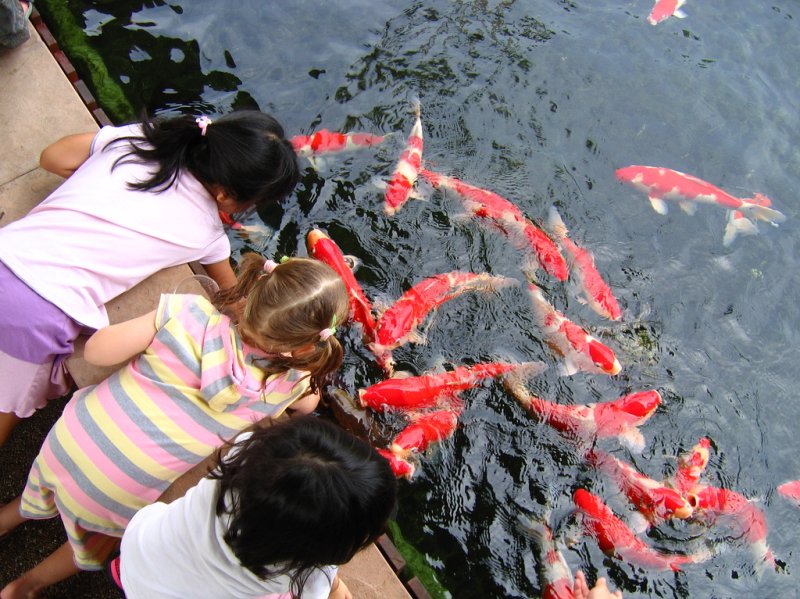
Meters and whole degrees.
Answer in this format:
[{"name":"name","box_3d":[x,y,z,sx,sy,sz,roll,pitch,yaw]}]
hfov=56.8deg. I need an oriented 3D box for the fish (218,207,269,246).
[{"name":"fish","box_3d":[-1.104,-0.502,5.520,0.478,0.193,0.151,23,92,-4]}]
